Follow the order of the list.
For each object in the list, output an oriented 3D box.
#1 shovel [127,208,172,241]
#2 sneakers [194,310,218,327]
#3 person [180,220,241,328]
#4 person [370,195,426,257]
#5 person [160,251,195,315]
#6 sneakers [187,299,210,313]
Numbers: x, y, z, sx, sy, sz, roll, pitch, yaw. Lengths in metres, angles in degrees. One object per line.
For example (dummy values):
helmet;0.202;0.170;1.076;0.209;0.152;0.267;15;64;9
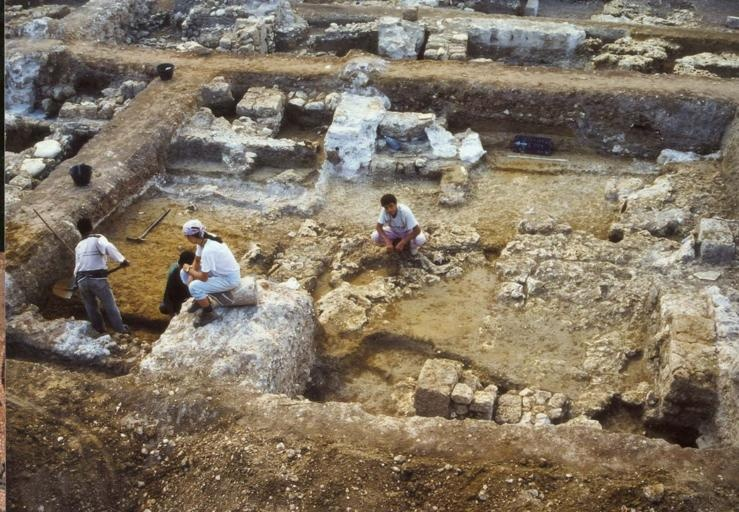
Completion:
shovel;-3.312;-0.474;14.435;0.261;0.075;0.750;18;38;14
sneakers;-2.112;0.817;12.337;0.421;0.229;0.131;-6;34;-4
person;-2.112;0.297;12.559;1.124;1.501;0.899;-1;39;-4
person;0.398;-0.486;13.639;0.800;1.024;0.381;1;44;8
person;-2.653;0.358;13.087;0.548;0.932;0.354;8;32;-15
sneakers;-2.165;0.670;12.410;0.440;0.264;0.107;3;77;-2
